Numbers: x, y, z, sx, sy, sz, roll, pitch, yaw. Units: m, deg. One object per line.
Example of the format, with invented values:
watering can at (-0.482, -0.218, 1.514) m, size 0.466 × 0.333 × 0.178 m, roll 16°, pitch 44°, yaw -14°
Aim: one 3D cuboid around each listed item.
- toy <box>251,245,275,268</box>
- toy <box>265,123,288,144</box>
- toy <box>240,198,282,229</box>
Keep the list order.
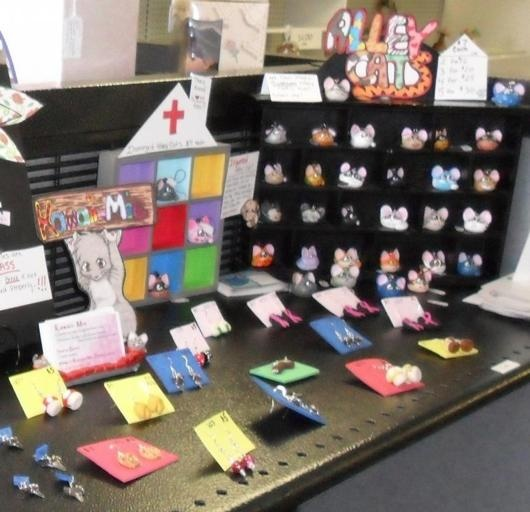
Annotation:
toy at (-0.005, -0.004, 1.871) m, size 0.084 × 0.092 × 0.041 m, roll -1°, pitch 7°, yaw -36°
toy at (0.039, -0.455, 1.735) m, size 0.083 × 0.067 × 0.073 m, roll -1°, pitch 21°, yaw 0°
toy at (-0.016, -0.164, 1.755) m, size 0.060 × 0.101 × 0.133 m, roll 5°, pitch 0°, yaw -40°
